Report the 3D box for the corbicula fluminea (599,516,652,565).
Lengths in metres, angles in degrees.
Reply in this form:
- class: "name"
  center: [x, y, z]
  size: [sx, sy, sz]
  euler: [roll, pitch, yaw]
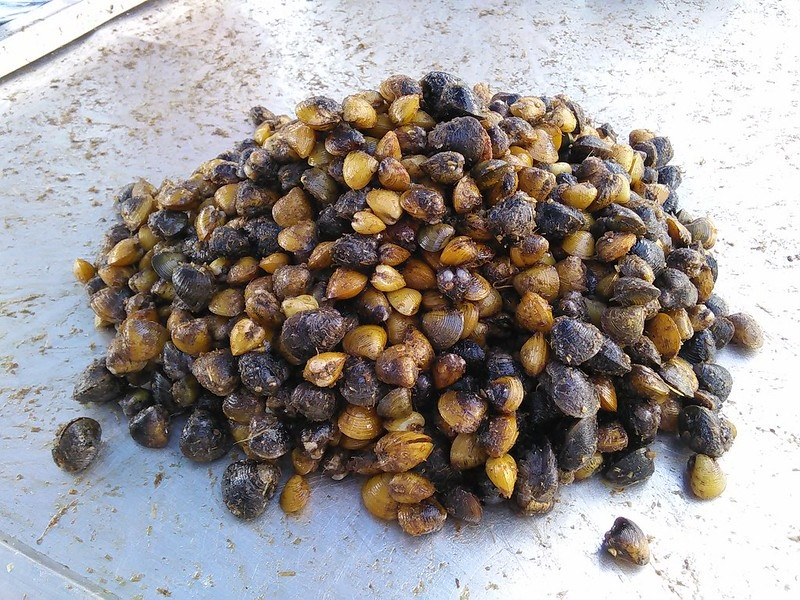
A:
- class: "corbicula fluminea"
  center: [0.938, 1.012, 3.439]
  size: [0.200, 0.070, 0.167]
  euler: [41, 77, 14]
